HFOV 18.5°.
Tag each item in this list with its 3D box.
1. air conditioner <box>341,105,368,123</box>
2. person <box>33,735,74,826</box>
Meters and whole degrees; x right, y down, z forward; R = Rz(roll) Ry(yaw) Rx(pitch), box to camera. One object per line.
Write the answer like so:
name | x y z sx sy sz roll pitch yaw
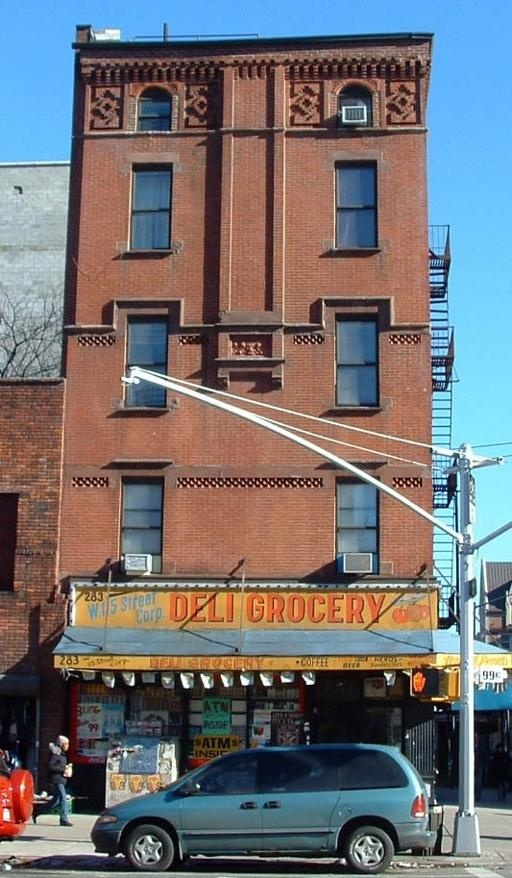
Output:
air conditioner | 1.914 -6.275 30.482 0.548 0.454 0.323 0 -6 3
person | -3.338 5.664 25.997 0.631 1.514 1.125 2 -13 -8
